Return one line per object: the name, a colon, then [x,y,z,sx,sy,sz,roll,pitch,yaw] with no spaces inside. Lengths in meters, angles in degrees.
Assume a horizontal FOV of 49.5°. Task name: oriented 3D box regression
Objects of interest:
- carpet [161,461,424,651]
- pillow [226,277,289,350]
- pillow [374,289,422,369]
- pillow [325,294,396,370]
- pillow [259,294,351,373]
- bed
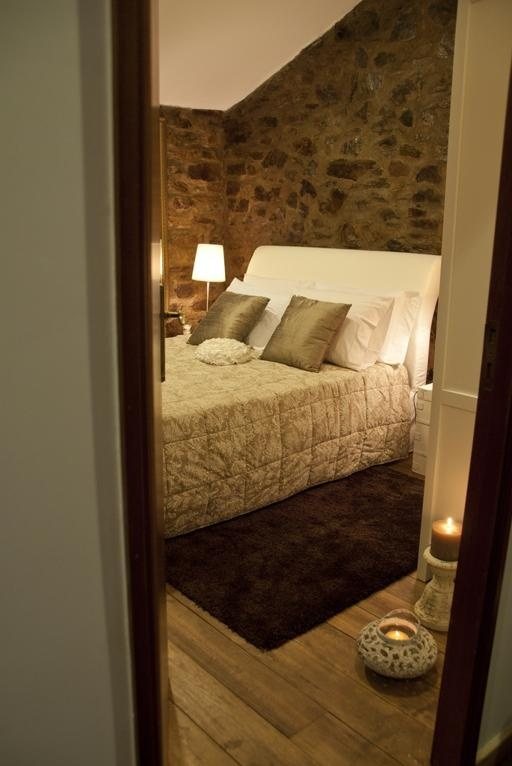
carpet: [0.249,0.732,2.507,1.326,0.034,0.832,-9,15,-40]
pillow: [0.080,-0.503,3.988,0.165,0.526,0.550,25,5,-39]
pillow: [0.936,-0.340,3.589,0.115,0.401,0.407,10,-4,32]
pillow: [0.660,-0.318,3.481,0.160,0.428,0.412,35,-22,-35]
pillow: [0.315,-0.302,3.405,0.492,0.471,0.154,16,-12,42]
bed: [0.112,-0.037,3.364,1.863,1.007,1.380,-15,24,-42]
